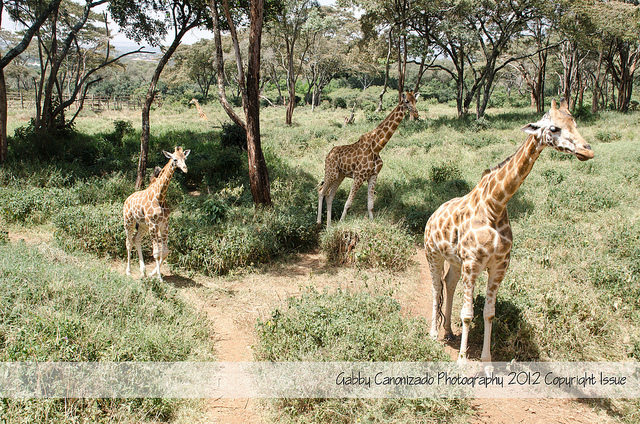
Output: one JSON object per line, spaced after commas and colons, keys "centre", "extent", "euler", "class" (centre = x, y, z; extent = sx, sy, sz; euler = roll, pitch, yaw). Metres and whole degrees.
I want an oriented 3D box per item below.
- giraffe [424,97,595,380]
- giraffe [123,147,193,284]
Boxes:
{"centre": [4.437, 0.647, 15.082], "extent": [3.412, 6.990, 1.206], "euler": [2, 9, 11], "class": "giraffe"}
{"centre": [-5.109, 0.003, 17.929], "extent": [1.598, 4.015, 2.286], "euler": [-7, 12, -36], "class": "giraffe"}
